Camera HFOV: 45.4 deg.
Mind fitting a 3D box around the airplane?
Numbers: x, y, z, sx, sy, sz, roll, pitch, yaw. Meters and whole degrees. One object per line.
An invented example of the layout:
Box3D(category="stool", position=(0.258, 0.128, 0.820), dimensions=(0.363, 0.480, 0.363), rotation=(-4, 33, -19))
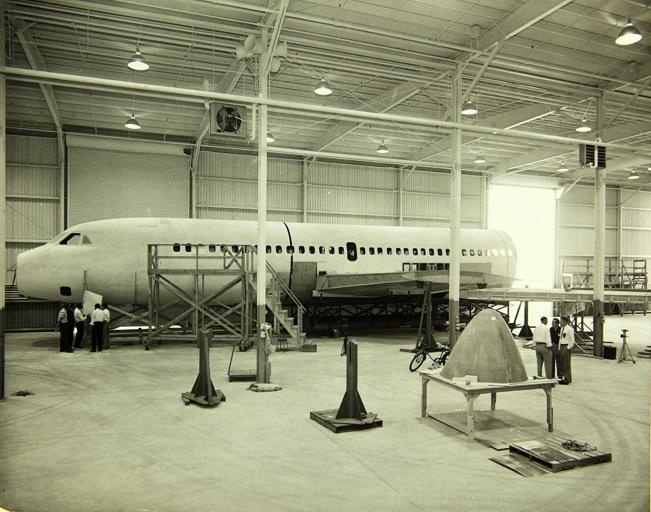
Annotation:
Box3D(category="airplane", position=(-3.085, 1.281, 30.760), dimensions=(32.062, 4.692, 4.754), rotation=(2, -5, -20))

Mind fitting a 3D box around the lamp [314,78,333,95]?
Box3D(category="lamp", position=(-0.082, -5.843, 26.738), dimensions=(0.478, 0.637, 0.856), rotation=(2, -2, 0))

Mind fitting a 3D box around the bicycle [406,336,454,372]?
Box3D(category="bicycle", position=(3.583, 3.462, 26.844), dimensions=(1.615, 0.787, 0.732), rotation=(4, -8, -14))

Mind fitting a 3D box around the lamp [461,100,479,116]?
Box3D(category="lamp", position=(5.082, -5.299, 27.751), dimensions=(0.471, 0.442, 0.542), rotation=(1, -2, 8))
